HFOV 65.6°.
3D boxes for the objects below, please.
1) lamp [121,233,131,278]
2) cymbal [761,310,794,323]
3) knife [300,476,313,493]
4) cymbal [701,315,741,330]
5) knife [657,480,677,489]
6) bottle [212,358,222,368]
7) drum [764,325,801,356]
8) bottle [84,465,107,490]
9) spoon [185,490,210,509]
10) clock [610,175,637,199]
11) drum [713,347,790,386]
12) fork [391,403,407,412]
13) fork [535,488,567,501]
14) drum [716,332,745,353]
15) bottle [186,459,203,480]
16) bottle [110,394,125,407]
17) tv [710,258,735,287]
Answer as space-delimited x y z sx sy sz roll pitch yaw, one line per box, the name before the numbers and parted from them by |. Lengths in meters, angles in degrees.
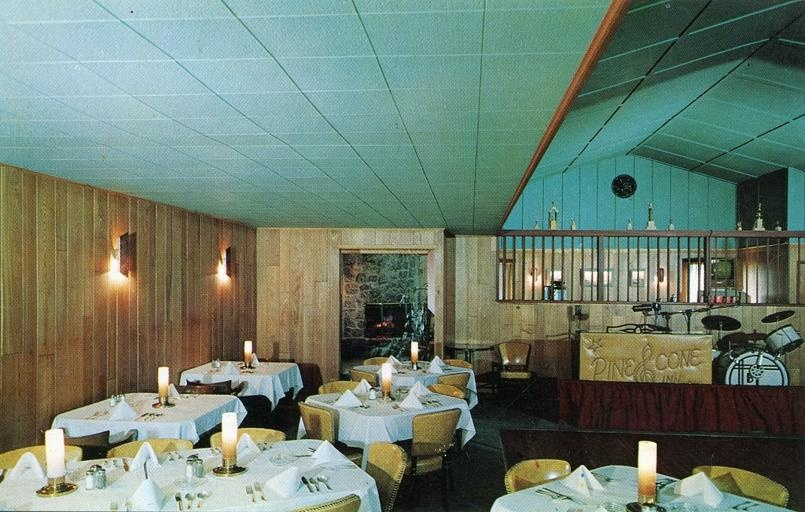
lamp | -3.951 -0.050 8.852 0.050 0.583 0.203 -3 -8 27
cymbal | 6.000 0.956 9.992 0.371 0.085 0.375 -12 -1 30
knife | -0.913 2.128 5.862 0.049 0.034 0.322 3 3 -23
cymbal | 5.096 1.031 9.970 0.491 0.233 0.452 -6 -9 41
knife | 2.499 2.141 5.920 0.223 0.059 0.069 2 10 -15
bottle | -3.056 1.722 10.137 0.173 0.178 0.169 0 0 12
drum | 5.980 1.277 9.760 0.507 0.325 0.499 7 -33 5
bottle | -2.869 2.049 5.864 0.190 0.196 0.204 1 -2 -9
spoon | -1.868 2.185 5.627 0.200 0.110 0.195 2 -7 -15
clock | 5.025 -1.591 14.063 0.601 0.547 0.178 1 -7 -7
drum | 5.440 1.739 9.787 0.875 0.805 0.591 2 17 3
fork | -0.051 1.843 7.685 0.074 0.045 0.294 4 -3 -10
fork | 1.337 2.153 5.777 0.082 0.054 0.382 -10 5 -40
drum | 5.828 1.487 11.098 0.490 0.407 0.462 -4 -7 29
bottle | -1.983 2.005 5.917 0.187 0.161 0.132 -1 0 -13
bottle | -3.668 1.829 7.997 0.157 0.119 0.152 2 0 0
tv | 6.742 0.334 13.152 0.638 0.561 0.329 -1 -6 6
